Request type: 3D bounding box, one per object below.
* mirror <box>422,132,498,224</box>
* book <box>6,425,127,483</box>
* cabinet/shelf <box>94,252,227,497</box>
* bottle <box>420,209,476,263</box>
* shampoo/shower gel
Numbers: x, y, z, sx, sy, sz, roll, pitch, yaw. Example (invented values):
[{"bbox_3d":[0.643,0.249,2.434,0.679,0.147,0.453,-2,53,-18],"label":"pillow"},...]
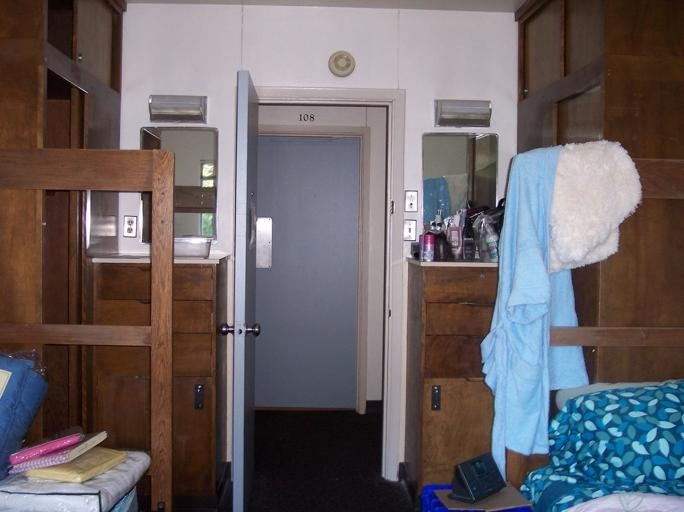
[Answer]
[{"bbox_3d":[0.717,-0.502,3.890,0.533,0.713,0.033,0,2,-6],"label":"mirror"},{"bbox_3d":[-1.167,0.855,2.690,0.377,0.163,0.280,-3,-1,18],"label":"book"},{"bbox_3d":[-1.165,0.920,3.726,0.704,1.405,0.740,6,-33,-26],"label":"cabinet/shelf"},{"bbox_3d":[0.596,-0.095,3.602,0.282,0.308,0.298,2,-4,-2],"label":"bottle"},{"bbox_3d":[0.679,-0.123,3.580,0.392,0.156,0.304,0,8,3],"label":"shampoo/shower gel"}]
